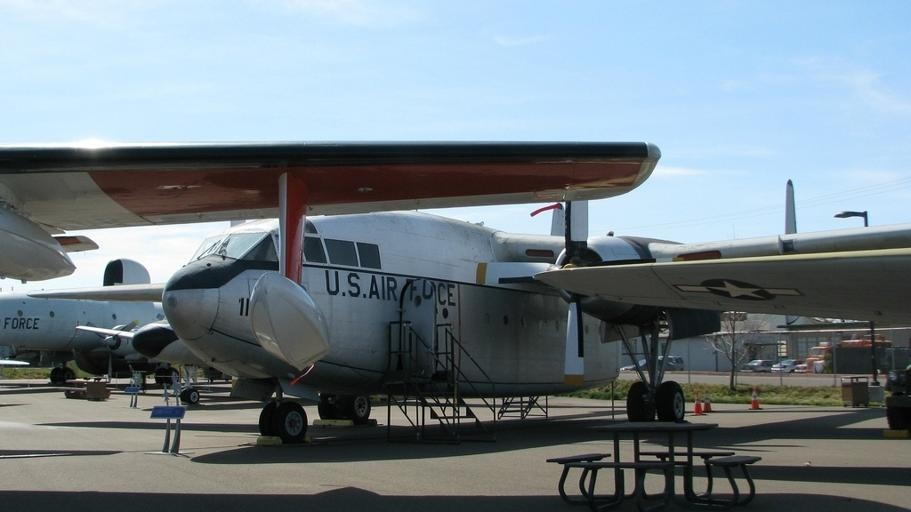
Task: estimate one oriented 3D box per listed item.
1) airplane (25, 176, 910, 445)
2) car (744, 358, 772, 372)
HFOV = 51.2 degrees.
[{"bbox_3d":[-0.001,1.442,26.217,13.011,3.514,12.609,4,-6,-42],"label":"airplane"},{"bbox_3d":[22.495,8.231,70.854,2.669,0.581,1.126,-2,2,-35],"label":"car"}]
